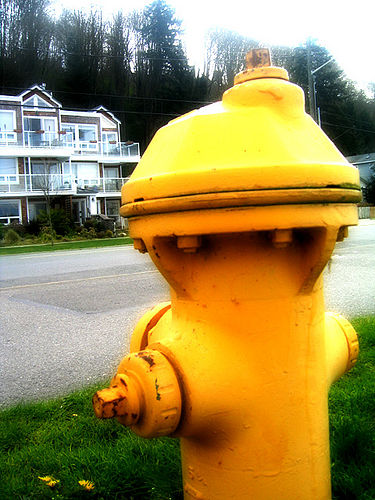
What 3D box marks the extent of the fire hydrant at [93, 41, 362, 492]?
[{"bbox_3d":[0.133,0.065,1.323,0.762,1.251,0.586,-7,0,8],"label":"fire hydrant"}]
